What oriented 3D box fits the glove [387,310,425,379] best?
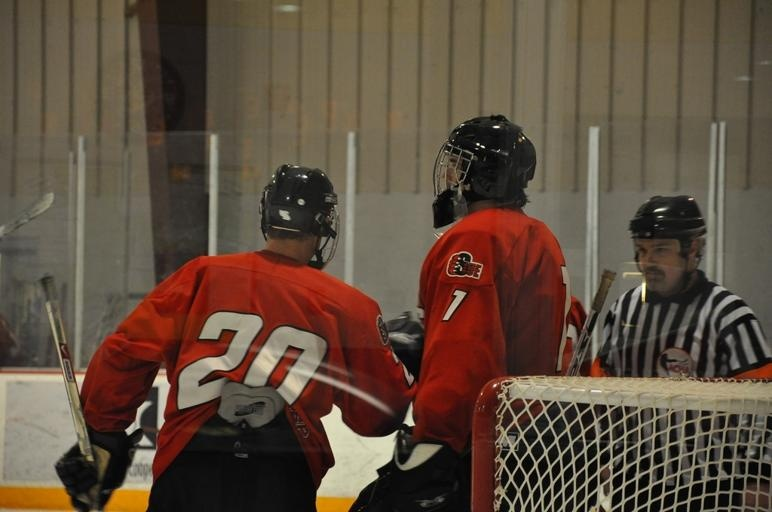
[{"bbox_3d":[0.067,0.323,5.625,0.143,0.242,0.096,0,-29,-25],"label":"glove"}]

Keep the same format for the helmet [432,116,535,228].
[{"bbox_3d":[0.391,-0.318,5.730,0.398,0.391,0.391,8,3,43],"label":"helmet"}]

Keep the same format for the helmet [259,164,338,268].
[{"bbox_3d":[-0.331,-0.153,5.730,0.305,0.340,0.358,6,-8,29],"label":"helmet"}]

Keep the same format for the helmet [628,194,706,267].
[{"bbox_3d":[1.066,-0.112,5.689,0.272,0.224,0.215,0,6,-27],"label":"helmet"}]
